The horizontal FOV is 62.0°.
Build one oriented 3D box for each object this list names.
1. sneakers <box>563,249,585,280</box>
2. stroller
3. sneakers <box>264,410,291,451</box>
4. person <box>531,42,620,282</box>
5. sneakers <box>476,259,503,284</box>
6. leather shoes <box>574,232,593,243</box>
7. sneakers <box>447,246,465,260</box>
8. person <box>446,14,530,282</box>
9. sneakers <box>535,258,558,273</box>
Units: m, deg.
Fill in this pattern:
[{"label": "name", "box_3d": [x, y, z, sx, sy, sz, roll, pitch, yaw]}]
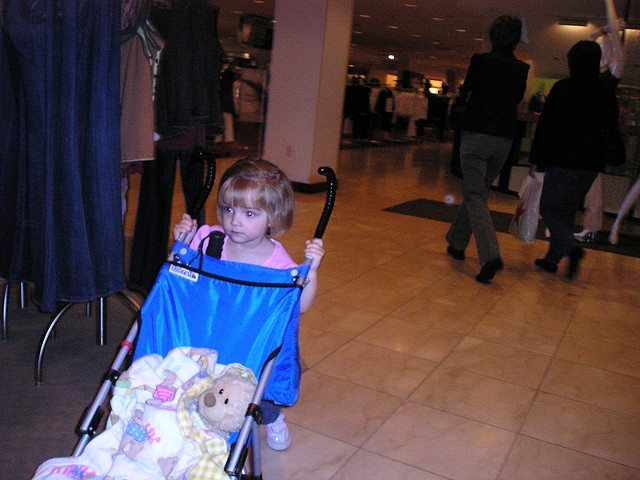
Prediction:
[{"label": "sneakers", "box_3d": [2.183, 0.216, 4.600, 0.080, 0.245, 0.169, 9, 1, 14]}, {"label": "stroller", "box_3d": [-0.278, 0.250, 2.066, 0.696, 1.294, 0.514, 11, -25, 11]}, {"label": "sneakers", "box_3d": [-0.169, 0.795, 2.209, 0.079, 0.075, 0.173, -1, 3, -12]}, {"label": "person", "box_3d": [2.107, -0.647, 4.439, 0.674, 1.875, 0.428, 7, 18, 16]}, {"label": "sneakers", "box_3d": [1.360, 0.242, 4.279, 0.209, 0.208, 0.106, -6, 19, -26]}, {"label": "leather shoes", "box_3d": [2.909, -0.036, 5.899, 0.142, 0.069, 0.182, -8, 11, -20]}, {"label": "sneakers", "box_3d": [1.233, 0.129, 4.851, 0.073, 0.090, 0.211, -1, 8, -8]}, {"label": "person", "box_3d": [1.351, -0.761, 4.378, 0.496, 2.064, 0.756, 8, 18, 17]}, {"label": "sneakers", "box_3d": [2.002, 0.230, 4.776, 0.084, 0.095, 0.207, -18, 23, -30]}]
